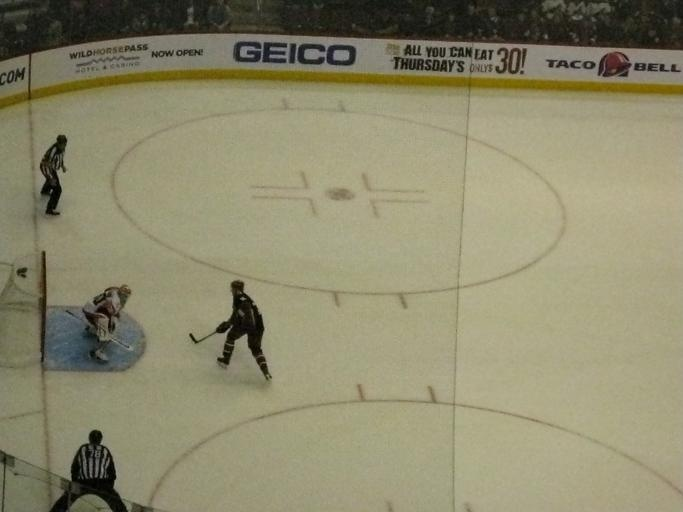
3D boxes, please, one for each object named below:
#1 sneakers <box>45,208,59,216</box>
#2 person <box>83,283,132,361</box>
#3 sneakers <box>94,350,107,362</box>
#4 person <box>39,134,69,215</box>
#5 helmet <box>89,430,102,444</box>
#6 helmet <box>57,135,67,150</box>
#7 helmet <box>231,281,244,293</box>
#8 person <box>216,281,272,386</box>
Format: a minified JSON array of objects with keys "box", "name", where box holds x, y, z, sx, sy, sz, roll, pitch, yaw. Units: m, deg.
[{"box":[-5.019,-0.844,21.781,0.193,0.194,0.098,-4,48,-12],"name":"sneakers"},{"box":[-3.555,1.166,19.191,0.624,0.971,0.795,2,36,-23],"name":"person"},{"box":[-3.615,1.640,18.972,0.216,0.174,0.182,-5,23,-19],"name":"sneakers"},{"box":[-5.074,-1.525,22.158,0.509,1.552,0.717,-1,58,-23],"name":"person"},{"box":[-3.293,2.661,16.871,0.166,0.209,0.213,4,16,-7],"name":"helmet"},{"box":[-4.888,-2.213,21.907,0.146,0.386,0.582,-1,23,-11],"name":"helmet"},{"box":[-1.500,0.491,18.904,0.184,0.269,0.297,0,22,-7],"name":"helmet"},{"box":[-1.373,1.189,18.946,1.056,1.573,0.462,13,24,24],"name":"person"}]
